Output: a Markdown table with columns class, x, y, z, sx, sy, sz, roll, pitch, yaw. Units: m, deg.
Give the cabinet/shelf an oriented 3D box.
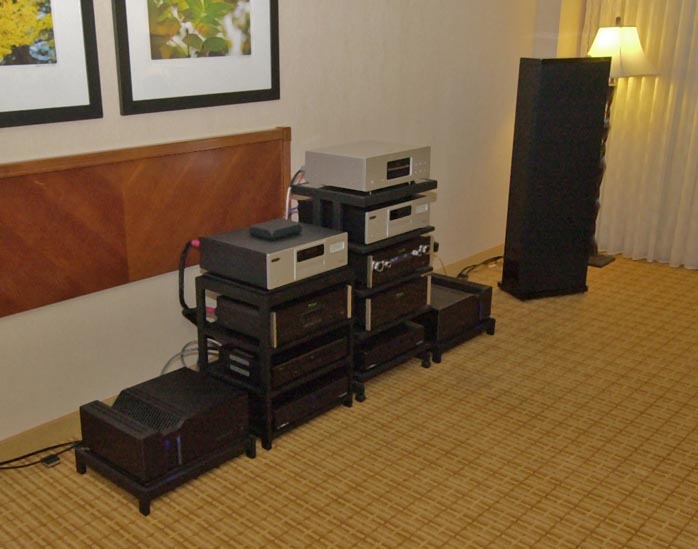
| class | x | y | z | sx | sy | sz | roll | pitch | yaw |
| --- | --- | --- | --- | --- | --- | --- | --- | --- | --- |
| cabinet/shelf | -0.170 | 0.174 | 2.886 | 0.418 | 0.822 | 1.052 | 16 | 26 | 37 |
